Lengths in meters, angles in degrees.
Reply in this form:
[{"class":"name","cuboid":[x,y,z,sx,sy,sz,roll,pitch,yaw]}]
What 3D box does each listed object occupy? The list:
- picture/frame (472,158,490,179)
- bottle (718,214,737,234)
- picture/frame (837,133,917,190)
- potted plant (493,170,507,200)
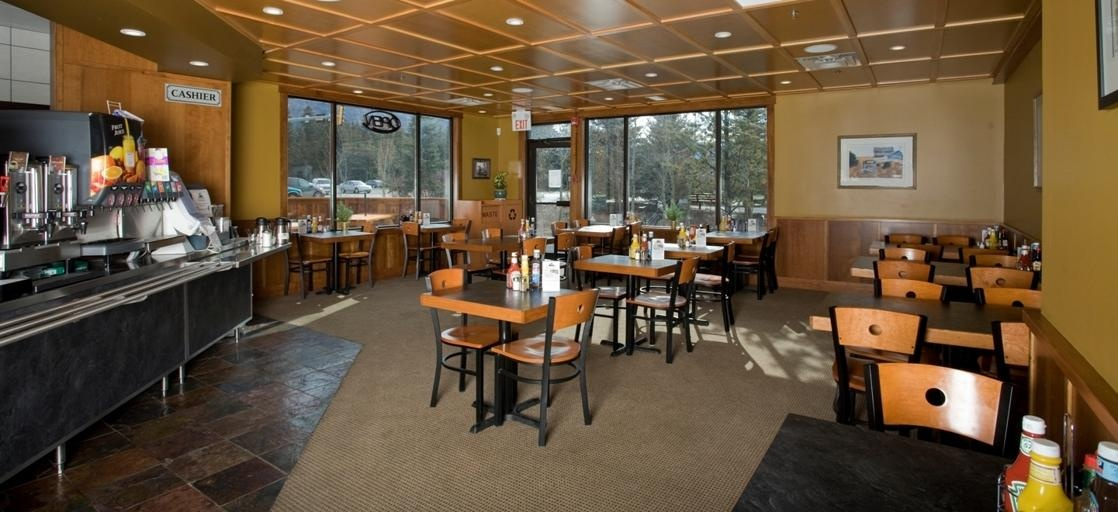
[{"class":"picture/frame","cuboid":[-1.899,-2.107,14.618,0.658,0.532,0.045,2,6,-41]},{"class":"bottle","cuboid":[3.490,-0.650,12.420,0.274,0.219,0.444,-10,-8,15]},{"class":"picture/frame","cuboid":[6.218,-1.837,11.670,1.428,0.929,0.130,1,3,22]},{"class":"potted plant","cuboid":[-1.397,-1.694,14.518,0.285,0.576,0.747,0,11,-4]}]
